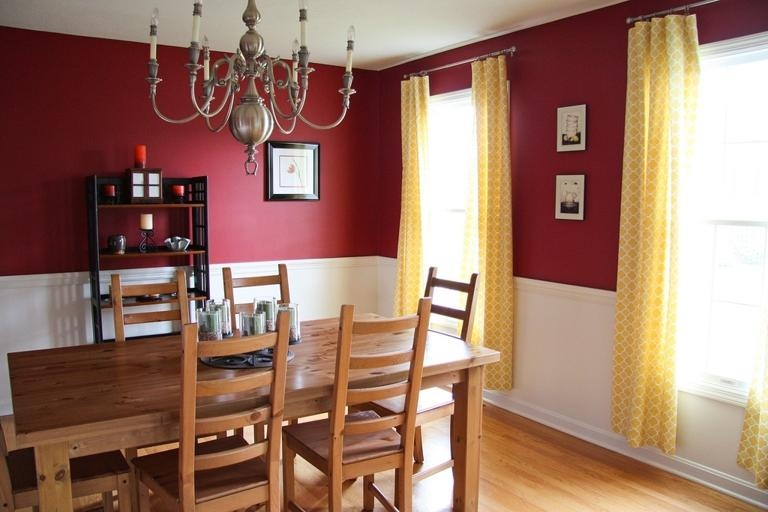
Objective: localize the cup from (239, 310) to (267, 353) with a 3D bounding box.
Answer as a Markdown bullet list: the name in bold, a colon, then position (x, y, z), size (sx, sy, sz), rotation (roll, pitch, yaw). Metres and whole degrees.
- **cup**: position (-0.806, 0.482, 3.767), size (0.238, 0.277, 0.239), rotation (2, 2, 0)

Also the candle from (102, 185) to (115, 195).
- **candle**: position (-2.413, -0.589, 5.169), size (0.081, 0.109, 0.136), rotation (-1, 7, 14)

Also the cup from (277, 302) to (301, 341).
- **cup**: position (-0.649, 0.459, 3.889), size (0.185, 0.267, 0.192), rotation (-5, -2, 0)

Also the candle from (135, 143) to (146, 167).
- **candle**: position (-2.237, -0.935, 5.355), size (0.114, 0.236, 0.302), rotation (-5, 7, -21)

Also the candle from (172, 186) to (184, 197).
- **candle**: position (-1.923, -0.611, 5.449), size (0.098, 0.072, 0.100), rotation (1, 1, 4)

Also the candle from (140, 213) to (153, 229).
- **candle**: position (-2.145, -0.324, 5.329), size (0.133, 0.152, 0.134), rotation (0, 5, -10)

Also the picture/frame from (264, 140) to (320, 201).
- **picture/frame**: position (-0.984, -0.922, 6.111), size (0.654, 0.661, 0.047), rotation (-2, 5, -31)

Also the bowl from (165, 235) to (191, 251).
- **bowl**: position (-1.929, -0.108, 5.441), size (0.169, 0.079, 0.162), rotation (0, -4, 0)

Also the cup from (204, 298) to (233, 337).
- **cup**: position (-1.071, 0.394, 3.676), size (0.186, 0.205, 0.178), rotation (-5, 0, 0)
